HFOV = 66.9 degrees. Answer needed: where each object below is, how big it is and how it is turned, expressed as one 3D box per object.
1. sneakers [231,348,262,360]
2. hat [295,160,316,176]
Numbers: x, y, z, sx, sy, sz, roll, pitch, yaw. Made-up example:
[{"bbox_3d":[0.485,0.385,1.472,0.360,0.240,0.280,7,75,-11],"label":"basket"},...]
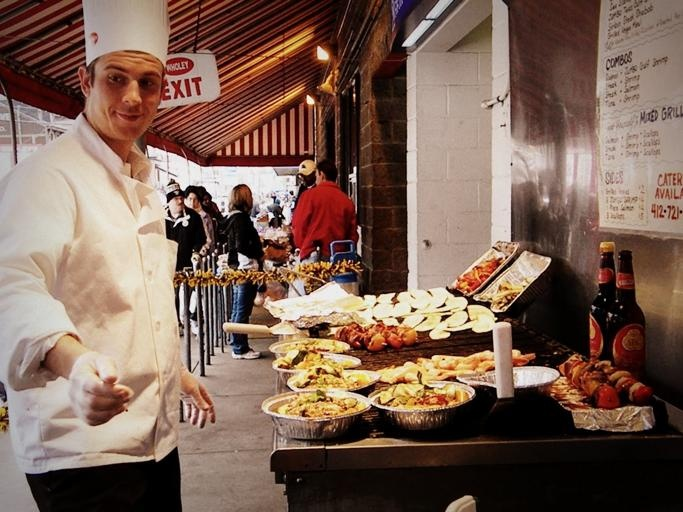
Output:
[{"bbox_3d":[-1.148,1.166,6.209,0.319,0.140,0.131,-1,-1,-4],"label":"sneakers"},{"bbox_3d":[-0.514,-1.302,7.487,0.225,0.168,0.317,-6,2,11],"label":"hat"}]
